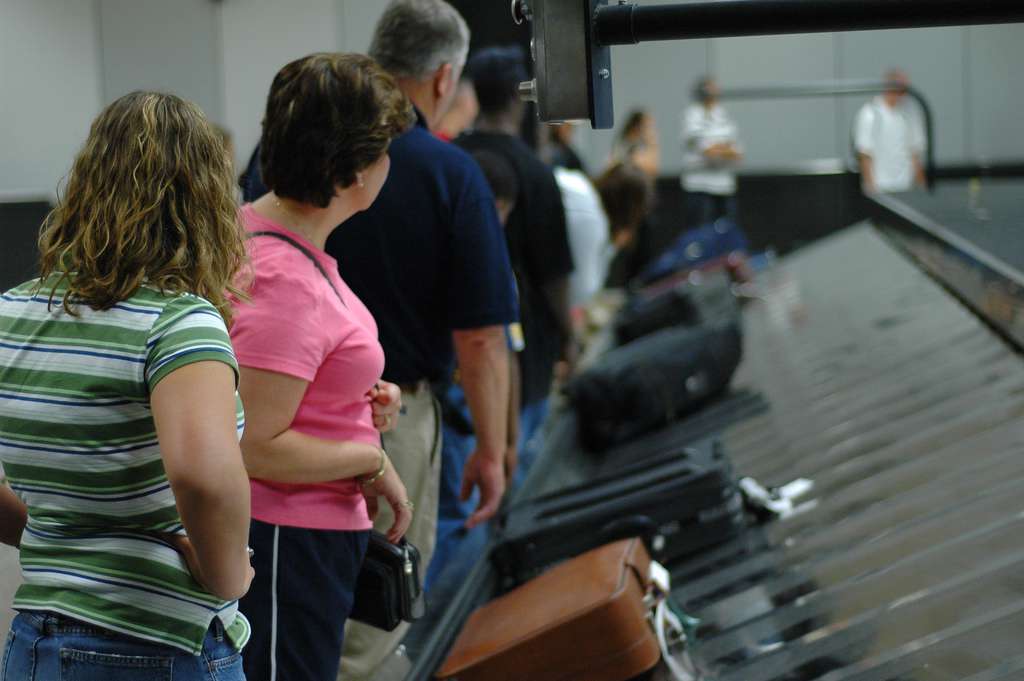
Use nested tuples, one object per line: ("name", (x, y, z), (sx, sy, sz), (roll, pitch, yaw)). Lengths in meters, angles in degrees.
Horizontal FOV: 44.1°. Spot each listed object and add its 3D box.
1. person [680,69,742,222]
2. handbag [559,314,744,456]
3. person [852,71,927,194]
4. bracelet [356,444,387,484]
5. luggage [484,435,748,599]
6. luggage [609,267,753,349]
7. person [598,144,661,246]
("person", (1.533, -1.433, 9.857), (0.456, 1.216, 1.591), (0, 18, 10))
("handbag", (0.409, 0.119, 3.653), (0.407, 0.169, 0.333), (-35, 18, 1))
("person", (2.549, -1.224, 8.517), (0.414, 1.189, 0.260), (-1, 35, 17))
("bracelet", (-0.317, 0.274, 2.805), (0.054, 0.078, 0.027), (-20, 35, 1))
("luggage", (0.232, 0.402, 2.978), (0.489, 0.188, 0.327), (-24, 12, 27))
("luggage", (0.551, -0.152, 4.625), (0.515, 0.279, 0.777), (0, 10, -6))
("person", (0.587, -0.721, 6.378), (0.251, 0.333, 0.895), (-26, 5, -3))
